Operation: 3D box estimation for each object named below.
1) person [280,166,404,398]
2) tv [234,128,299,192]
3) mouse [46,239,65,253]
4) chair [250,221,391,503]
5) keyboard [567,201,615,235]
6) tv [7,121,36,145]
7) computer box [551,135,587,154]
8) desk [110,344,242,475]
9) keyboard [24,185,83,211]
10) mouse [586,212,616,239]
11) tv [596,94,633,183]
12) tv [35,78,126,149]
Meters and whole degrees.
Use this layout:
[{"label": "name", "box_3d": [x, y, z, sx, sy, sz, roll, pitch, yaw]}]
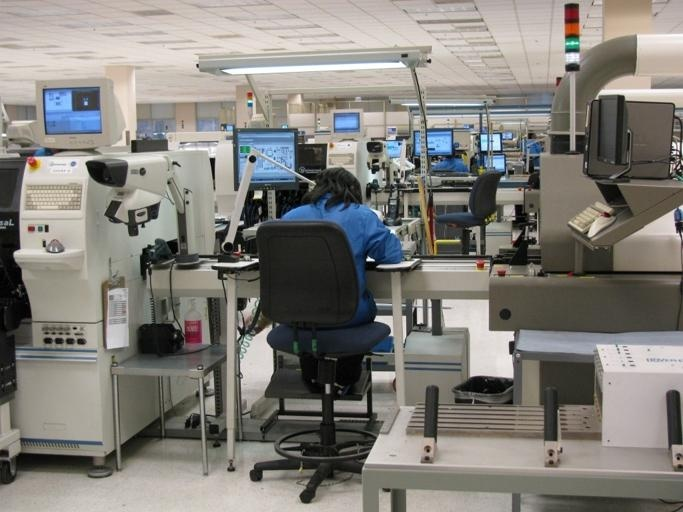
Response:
[{"label": "person", "box_3d": [-0.051, 0.167, 3.465, 0.669, 1.296, 0.705, 5, 10, 19]}, {"label": "tv", "box_3d": [-0.510, -0.653, 4.384, 0.558, 0.540, 0.204, 0, 0, -5]}, {"label": "mouse", "box_3d": [-1.375, -0.040, 3.139, 0.095, 0.084, 0.059, 1, -3, -7]}, {"label": "chair", "box_3d": [-0.090, 0.451, 3.132, 0.536, 1.306, 0.606, 9, 15, 39]}, {"label": "keyboard", "box_3d": [1.119, -0.150, 2.922, 0.161, 0.053, 0.153, -37, 20, -7]}, {"label": "tv", "box_3d": [-1.658, -0.644, 3.446, 0.144, 0.124, 0.135, 4, 12, 15]}, {"label": "computer box", "box_3d": [1.124, -0.559, 3.255, 0.159, 0.096, 0.148, 3, 12, 15]}, {"label": "desk", "box_3d": [-0.906, 0.600, 3.518, 0.495, 0.529, 0.962, 0, 6, 2]}, {"label": "keyboard", "box_3d": [-1.423, -0.292, 3.207, 0.316, 0.127, 0.063, 3, 12, 16]}, {"label": "mouse", "box_3d": [1.092, -0.130, 2.715, 0.053, 0.065, 0.178, 5, 38, 49]}, {"label": "tv", "box_3d": [1.104, -0.477, 2.622, 0.126, 0.333, 0.346, 3, 12, 15]}, {"label": "tv", "box_3d": [-1.343, -0.720, 3.430, 0.418, 0.360, 0.241, 1, 6, 14]}]
